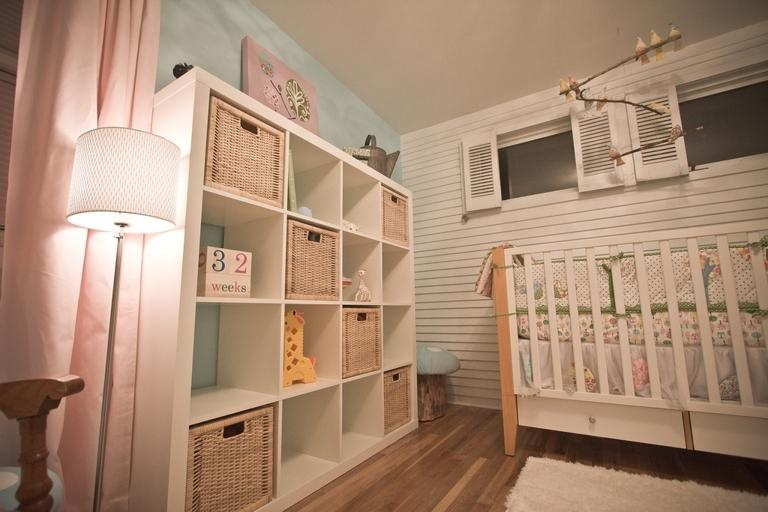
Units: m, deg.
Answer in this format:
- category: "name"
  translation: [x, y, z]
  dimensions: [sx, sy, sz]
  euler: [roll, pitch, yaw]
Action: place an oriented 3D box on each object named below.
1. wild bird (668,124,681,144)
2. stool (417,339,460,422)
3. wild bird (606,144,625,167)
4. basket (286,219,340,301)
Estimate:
- category: "wild bird"
  translation: [2.288, -0.962, 3.767]
  dimensions: [0.100, 0.135, 0.101]
  euler: [1, 5, 34]
- category: "stool"
  translation: [0.333, 1.078, 4.072]
  dimensions: [0.515, 0.497, 0.509]
  euler: [0, -8, -4]
- category: "wild bird"
  translation: [1.896, -0.819, 3.909]
  dimensions: [0.073, 0.151, 0.151]
  euler: [-36, 39, -10]
- category: "basket"
  translation: [-0.458, 0.038, 3.015]
  dimensions: [0.253, 0.410, 0.424]
  euler: [-8, -19, 23]
